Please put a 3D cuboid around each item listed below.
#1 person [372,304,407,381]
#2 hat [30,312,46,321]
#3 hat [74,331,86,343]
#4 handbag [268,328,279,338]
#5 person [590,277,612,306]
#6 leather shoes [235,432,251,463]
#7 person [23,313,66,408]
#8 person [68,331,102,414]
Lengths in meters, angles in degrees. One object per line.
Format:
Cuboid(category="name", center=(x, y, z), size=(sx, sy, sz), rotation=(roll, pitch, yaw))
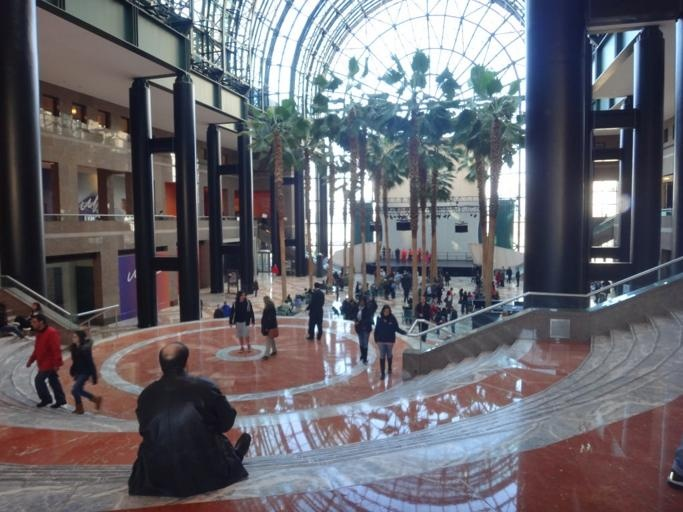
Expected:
Cuboid(category="person", center=(1.234, 2.343, 17.253), size=(0.697, 2.065, 1.534), rotation=(-3, 0, 3))
Cuboid(category="hat", center=(-6.712, 1.361, 13.942), size=(0.227, 0.158, 0.677), rotation=(-3, -1, -30))
Cuboid(category="hat", center=(-5.764, 1.802, 13.919), size=(0.267, 0.285, 0.283), rotation=(-3, -1, -29))
Cuboid(category="handbag", center=(-2.015, 2.314, 18.778), size=(0.219, 0.292, 0.293), rotation=(-3, -6, 37))
Cuboid(category="person", center=(8.056, 1.100, 19.670), size=(0.518, 0.882, 0.624), rotation=(1, 4, 12))
Cuboid(category="leather shoes", center=(-1.592, 3.064, 10.255), size=(0.168, 0.594, 0.222), rotation=(11, -16, 11))
Cuboid(category="person", center=(-6.690, 2.417, 14.294), size=(0.724, 2.031, 1.315), rotation=(-3, -1, -28))
Cuboid(category="person", center=(-5.839, 2.637, 14.312), size=(0.590, 1.807, 1.478), rotation=(-3, -1, -24))
